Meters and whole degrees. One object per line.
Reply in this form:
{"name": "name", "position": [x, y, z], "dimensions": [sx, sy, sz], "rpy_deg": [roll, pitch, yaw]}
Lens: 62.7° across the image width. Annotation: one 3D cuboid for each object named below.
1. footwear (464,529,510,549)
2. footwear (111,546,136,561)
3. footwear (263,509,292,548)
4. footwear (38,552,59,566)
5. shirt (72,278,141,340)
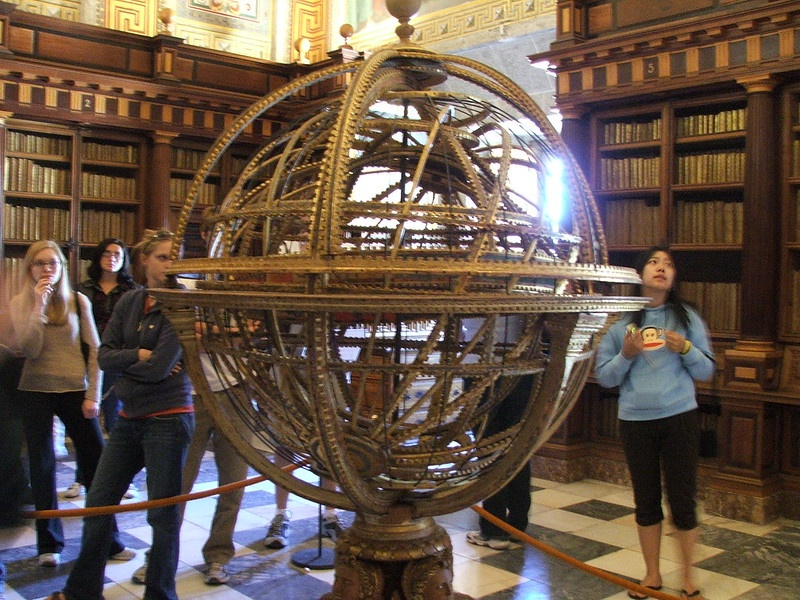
{"name": "footwear", "position": [0.507, 1.365, 3.775], "dimensions": [0.219, 0.076, 0.085], "rpy_deg": [-3, -8, 38]}
{"name": "footwear", "position": [-1.458, 1.347, 3.491], "dimensions": [0.132, 0.040, 0.041], "rpy_deg": [-3, 4, -1]}
{"name": "footwear", "position": [-0.682, 1.305, 3.690], "dimensions": [0.099, 0.086, 0.250], "rpy_deg": [7, -4, -2]}
{"name": "footwear", "position": [-1.809, 1.330, 3.377], "dimensions": [0.062, 0.022, 0.086], "rpy_deg": [2, -4, -16]}
{"name": "shirt", "position": [-1.668, 0.057, 3.701], "dimensions": [0.526, 0.363, 0.243], "rpy_deg": [1, -10, -4]}
